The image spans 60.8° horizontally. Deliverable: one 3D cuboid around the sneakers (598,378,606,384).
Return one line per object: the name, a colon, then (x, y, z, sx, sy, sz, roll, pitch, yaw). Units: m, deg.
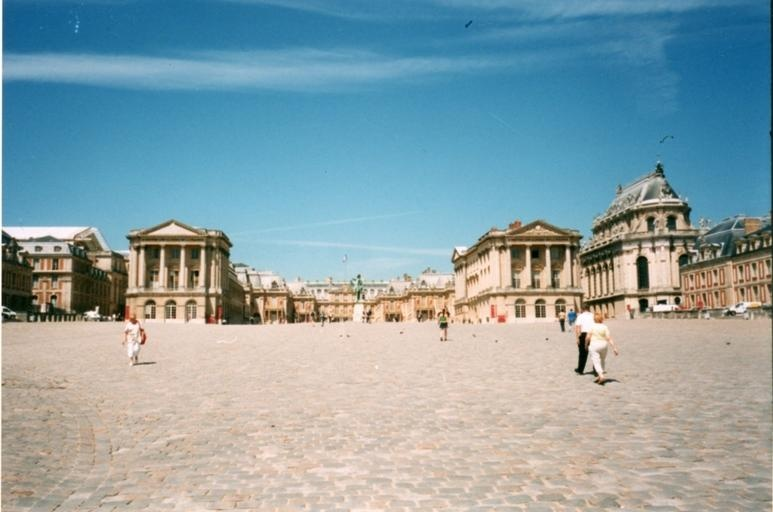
sneakers: (7.222, 4.175, 22.170, 0.229, 0.211, 0.519, -4, -6, 22)
